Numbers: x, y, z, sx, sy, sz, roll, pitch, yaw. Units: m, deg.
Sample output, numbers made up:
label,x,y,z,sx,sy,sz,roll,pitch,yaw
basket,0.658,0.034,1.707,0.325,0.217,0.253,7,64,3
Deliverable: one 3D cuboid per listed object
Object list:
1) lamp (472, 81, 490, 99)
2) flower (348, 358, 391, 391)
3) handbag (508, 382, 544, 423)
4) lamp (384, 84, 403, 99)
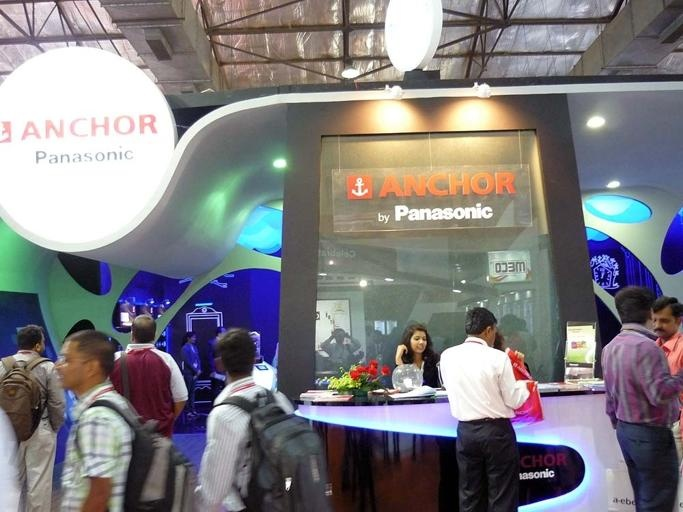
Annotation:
label,x,y,z,sx,sy,sz,roll,pitch,yaw
lamp,1.397,-1.665,5.454,0.178,0.202,0.111,-3,5,0
flower,0.246,0.986,4.594,0.360,0.332,0.386,1,-6,5
handbag,1.351,1.084,4.057,0.273,0.299,0.090,0,3,-38
lamp,0.524,-1.658,5.486,0.104,0.142,0.188,0,2,-7
